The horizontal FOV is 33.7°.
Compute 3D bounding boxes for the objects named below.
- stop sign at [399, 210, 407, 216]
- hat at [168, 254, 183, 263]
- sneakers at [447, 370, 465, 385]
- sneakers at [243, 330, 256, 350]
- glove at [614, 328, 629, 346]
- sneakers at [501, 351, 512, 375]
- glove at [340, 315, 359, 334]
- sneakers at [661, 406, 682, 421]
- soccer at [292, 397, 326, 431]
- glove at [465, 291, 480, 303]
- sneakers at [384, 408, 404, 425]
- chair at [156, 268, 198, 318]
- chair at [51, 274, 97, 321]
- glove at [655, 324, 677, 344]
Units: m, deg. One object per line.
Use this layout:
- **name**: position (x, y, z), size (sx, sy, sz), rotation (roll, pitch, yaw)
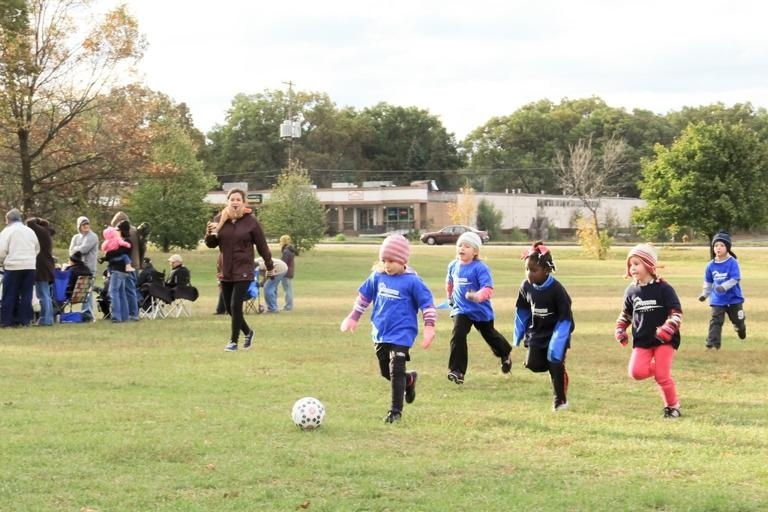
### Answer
- **stop sign**: position (1.395, -2.885, 87.167), size (0.527, 0.419, 0.260), rotation (1, 8, 8)
- **hat**: position (-5.807, 0.113, 35.010), size (0.461, 0.195, 0.306), rotation (11, 5, 3)
- **sneakers**: position (1.610, 2.736, 28.363), size (0.449, 0.190, 0.268), rotation (31, 34, 0)
- **sneakers**: position (-3.291, 2.079, 30.956), size (0.187, 0.485, 0.234), rotation (-8, -35, 43)
- **glove**: position (5.170, 1.763, 27.506), size (0.323, 0.351, 0.169), rotation (5, -4, 7)
- **sneakers**: position (2.848, 2.509, 29.275), size (0.217, 0.214, 0.508), rotation (-1, 38, 8)
- **glove**: position (-0.692, 1.559, 27.484), size (0.466, 0.193, 0.476), rotation (-9, 13, 16)
- **sneakers**: position (6.173, 3.366, 27.202), size (0.174, 0.197, 0.499), rotation (-6, -12, 34)
- **soccer**: position (-1.529, 3.287, 26.645), size (0.716, 0.596, 0.716), rotation (11, 3, 31)
- **glove**: position (2.042, 0.922, 28.534), size (0.188, 0.196, 0.398), rotation (-1, -2, -44)
- **sneakers**: position (0.234, 3.411, 26.908), size (0.286, 0.246, 0.597), rotation (-1, -11, 6)
- **chair**: position (-5.918, 1.083, 35.218), size (1.725, 1.199, 1.548), rotation (7, 0, -13)
- **chair**: position (-8.278, 1.044, 34.024), size (1.282, 1.512, 1.319), rotation (1, 0, -37)
- **glove**: position (6.023, 1.654, 27.198), size (0.474, 0.349, 0.212), rotation (-38, 7, -8)
